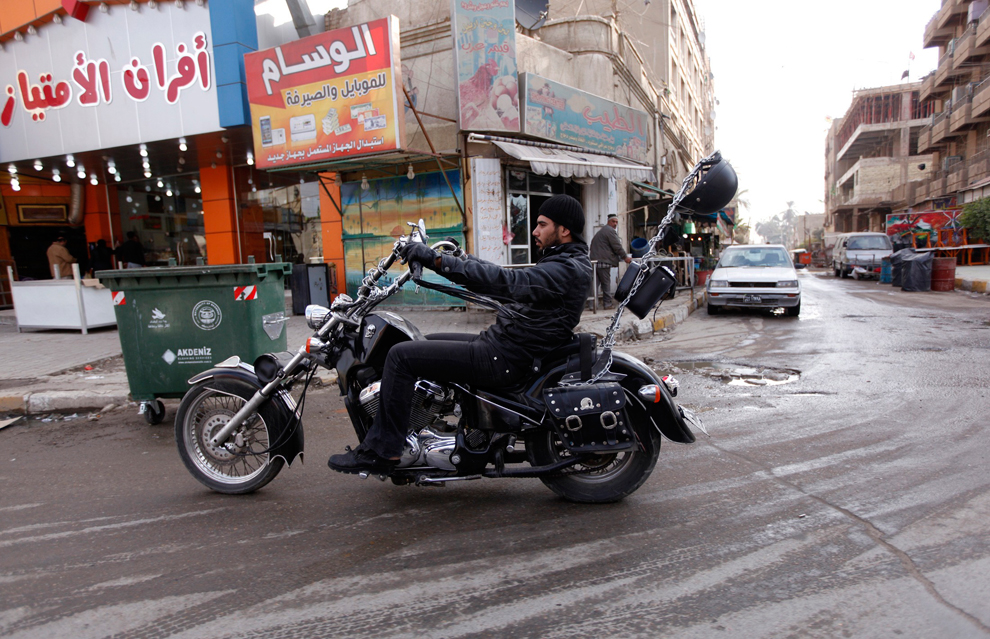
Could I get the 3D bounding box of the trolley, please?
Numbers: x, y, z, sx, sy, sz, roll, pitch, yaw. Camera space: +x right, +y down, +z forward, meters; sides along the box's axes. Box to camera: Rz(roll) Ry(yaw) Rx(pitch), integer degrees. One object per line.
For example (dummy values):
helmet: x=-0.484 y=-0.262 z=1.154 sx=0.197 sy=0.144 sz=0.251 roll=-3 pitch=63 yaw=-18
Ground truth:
trolley: x=-3.652 y=0.506 z=8.450 sx=2.131 sy=1.894 sz=1.529 roll=0 pitch=-18 yaw=4

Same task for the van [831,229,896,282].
van: x=15.755 y=-2.626 z=28.073 sx=2.042 sy=1.751 sz=3.566 roll=-1 pitch=4 yaw=8

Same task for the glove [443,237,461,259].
glove: x=-0.357 y=-0.618 z=5.769 sx=0.148 sy=0.155 sz=0.364 roll=-2 pitch=5 yaw=-4

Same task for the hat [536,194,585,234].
hat: x=0.579 y=-0.960 z=5.950 sx=0.382 sy=0.321 sz=0.283 roll=10 pitch=17 yaw=-10

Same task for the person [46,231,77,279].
person: x=-10.131 y=-1.502 z=15.461 sx=0.432 sy=1.078 sz=3.928 roll=-6 pitch=6 yaw=-33

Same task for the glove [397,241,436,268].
glove: x=-0.636 y=-0.542 z=5.509 sx=0.304 sy=0.214 sz=0.092 roll=-3 pitch=5 yaw=-7

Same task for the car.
car: x=6.101 y=-1.053 z=15.582 sx=1.478 sy=1.145 sz=2.577 roll=-1 pitch=0 yaw=17
